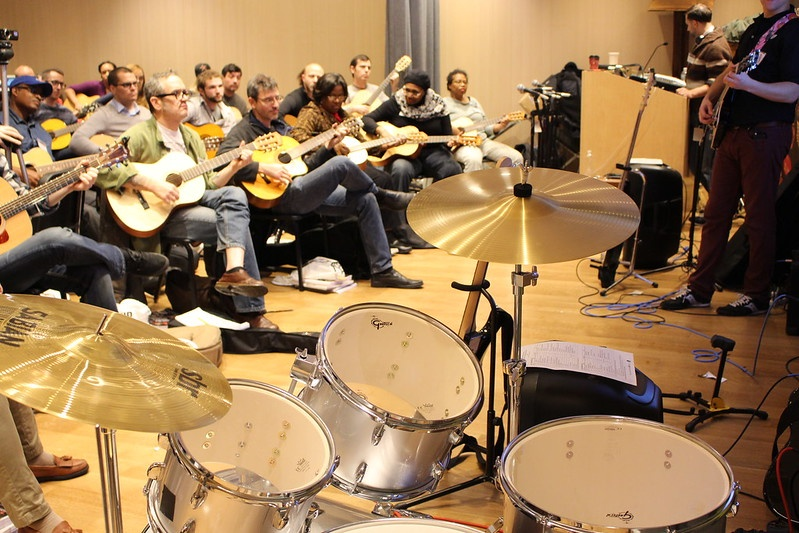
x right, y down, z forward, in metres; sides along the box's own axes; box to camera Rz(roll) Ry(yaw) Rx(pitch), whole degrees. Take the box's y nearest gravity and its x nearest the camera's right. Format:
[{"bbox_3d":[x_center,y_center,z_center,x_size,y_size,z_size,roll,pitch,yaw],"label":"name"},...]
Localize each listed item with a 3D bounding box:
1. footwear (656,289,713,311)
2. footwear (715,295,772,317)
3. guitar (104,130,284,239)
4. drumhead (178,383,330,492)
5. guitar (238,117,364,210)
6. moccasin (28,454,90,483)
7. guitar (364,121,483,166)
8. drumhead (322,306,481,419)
[{"bbox_3d":[1.906,0.215,4.328,0.358,0.166,0.142,3,3,3],"label":"footwear"},{"bbox_3d":[2.233,0.265,4.134,0.369,0.160,0.138,0,18,5],"label":"footwear"},{"bbox_3d":[-1.380,-0.553,4.277,1.041,0.428,0.139,-32,-1,-32],"label":"guitar"},{"bbox_3d":[-0.469,0.558,2.086,0.376,0.290,0.395,23,29,-31],"label":"drumhead"},{"bbox_3d":[-0.785,-0.807,4.923,0.997,0.431,0.131,-37,0,-38],"label":"guitar"},{"bbox_3d":[-1.416,0.843,2.660,0.198,0.082,0.083,-7,17,-28],"label":"moccasin"},{"bbox_3d":[0.218,-1.117,6.141,1.172,0.474,0.158,1,-24,-24],"label":"guitar"},{"bbox_3d":[0.002,0.370,2.422,0.463,0.181,0.473,39,26,5],"label":"drumhead"}]
